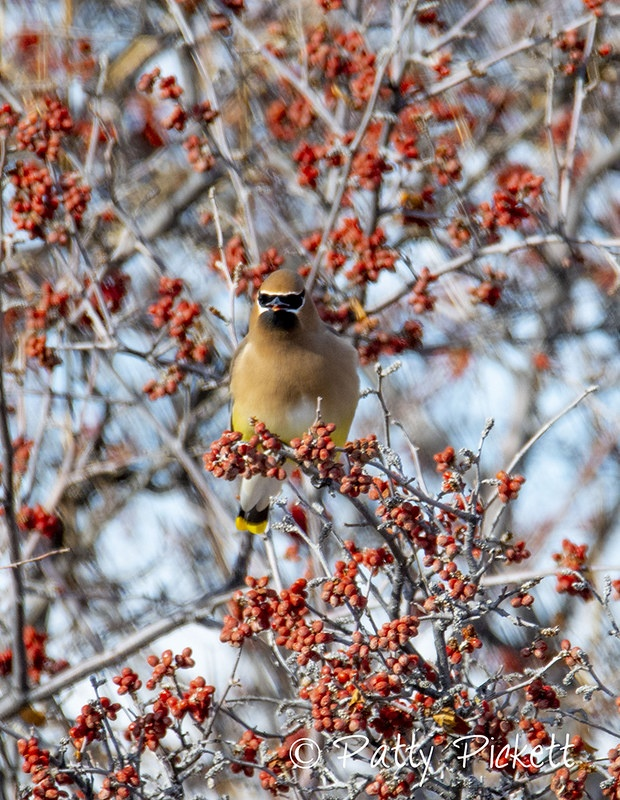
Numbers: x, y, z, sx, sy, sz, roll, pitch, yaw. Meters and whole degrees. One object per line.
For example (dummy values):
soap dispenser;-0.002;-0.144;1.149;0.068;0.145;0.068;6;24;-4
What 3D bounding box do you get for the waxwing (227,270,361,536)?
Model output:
waxwing;-0.077;-0.130;6.174;0.522;0.789;0.536;1;62;-1
